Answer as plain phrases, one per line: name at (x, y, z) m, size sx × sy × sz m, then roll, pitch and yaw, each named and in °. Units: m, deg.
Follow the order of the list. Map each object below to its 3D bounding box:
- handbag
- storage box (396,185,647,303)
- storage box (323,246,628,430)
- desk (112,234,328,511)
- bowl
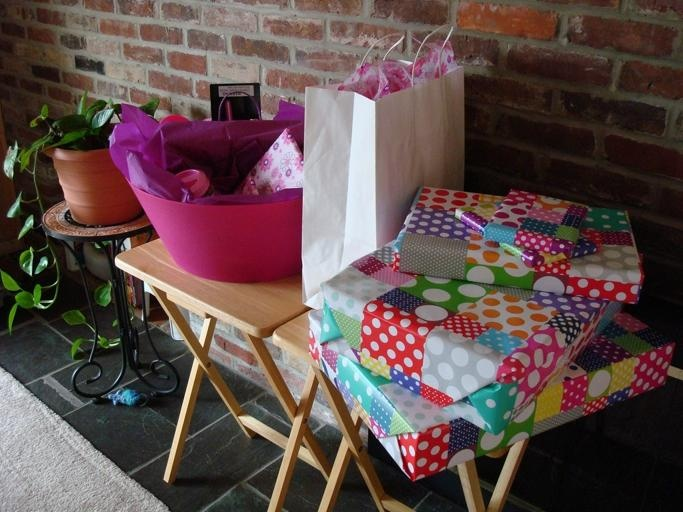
handbag at (0.096, -0.165, 1.173) m, size 0.217 × 0.635 × 0.436 m, roll 23°, pitch 39°, yaw 33°
storage box at (0.324, -0.022, 1.057) m, size 0.330 × 0.085 × 0.265 m, roll 10°, pitch 34°, yaw 17°
storage box at (0.201, 0.123, 1.018) m, size 0.454 × 0.171 × 0.258 m, roll 16°, pitch 29°, yaw 24°
desk at (-0.356, 0.381, 1.694) m, size 0.503 × 0.650 × 0.330 m, roll 32°, pitch 51°, yaw 33°
bowl at (-0.305, -0.158, 1.411) m, size 0.443 × 0.284 × 0.389 m, roll 13°, pitch 28°, yaw 23°
